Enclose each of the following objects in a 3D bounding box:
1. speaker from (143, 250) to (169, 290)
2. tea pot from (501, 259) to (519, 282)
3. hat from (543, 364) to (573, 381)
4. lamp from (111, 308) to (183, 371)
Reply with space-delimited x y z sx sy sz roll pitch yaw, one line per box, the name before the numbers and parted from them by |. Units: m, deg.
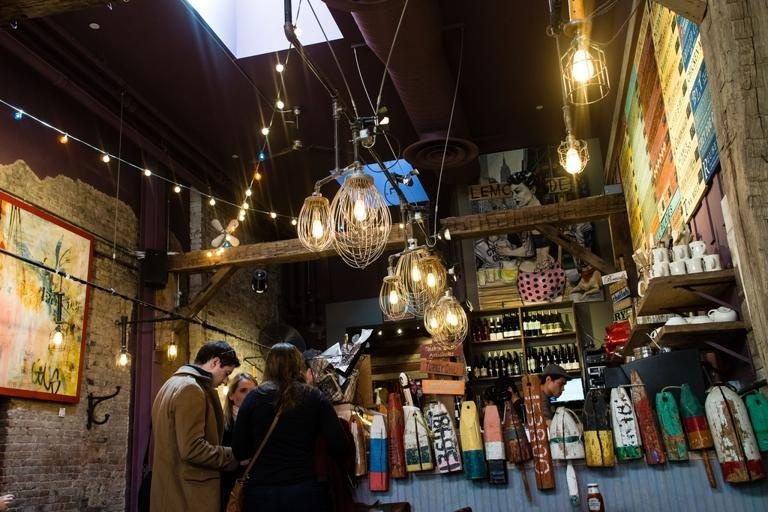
speaker | -3.332 0.236 8.243 0.353 0.556 0.381 -31 -33 34
tea pot | 2.129 0.259 9.500 0.244 0.287 0.340 2 -16 -2
hat | 1.650 1.090 5.329 0.255 0.158 0.193 -4 -24 20
lamp | -3.237 1.132 7.551 0.811 0.778 0.842 -8 -15 20
